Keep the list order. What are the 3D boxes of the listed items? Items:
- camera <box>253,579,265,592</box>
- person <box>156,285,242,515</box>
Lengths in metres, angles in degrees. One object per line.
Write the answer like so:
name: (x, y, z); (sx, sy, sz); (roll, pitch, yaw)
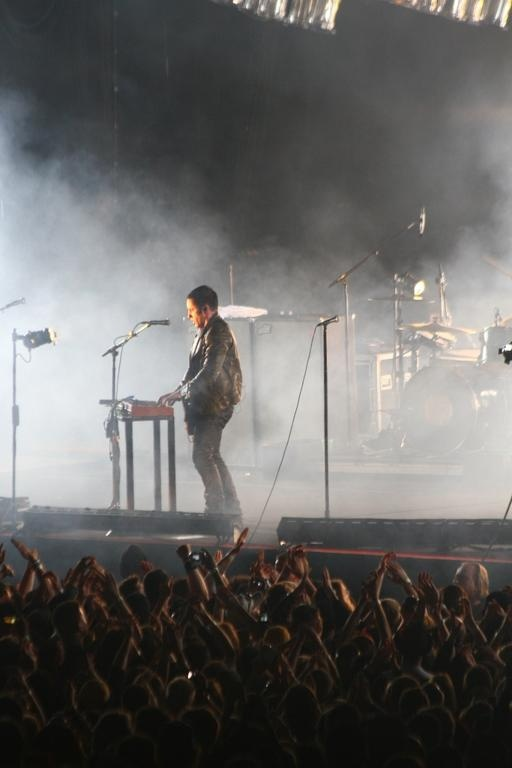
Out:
camera: (0.005, 0.479, 1.999); (0.021, 0.019, 0.021); (8, -12, -34)
person: (-0.269, 0.071, 4.044); (0.389, 1.064, 0.551); (0, 10, -3)
